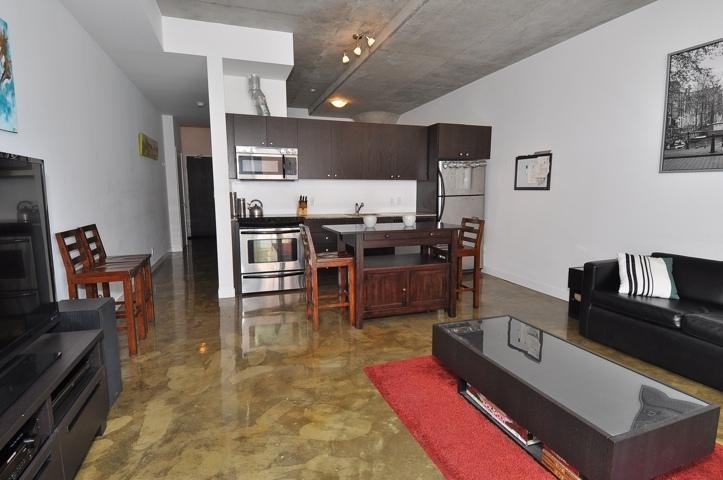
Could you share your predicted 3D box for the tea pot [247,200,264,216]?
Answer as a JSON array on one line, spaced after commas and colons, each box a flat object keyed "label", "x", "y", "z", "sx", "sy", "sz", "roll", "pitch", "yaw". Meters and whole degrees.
[{"label": "tea pot", "x": -1.587, "y": -0.480, "z": 6.693, "sx": 0.192, "sy": 0.273, "sz": 0.319, "roll": 0, "pitch": 1, "yaw": -5}]

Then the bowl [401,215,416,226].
[{"label": "bowl", "x": 0.568, "y": -0.239, "z": 5.492, "sx": 0.133, "sy": 0.098, "sz": 0.134, "roll": -1, "pitch": 3, "yaw": 0}]

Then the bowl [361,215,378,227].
[{"label": "bowl", "x": 0.090, "y": -0.221, "z": 5.339, "sx": 0.143, "sy": 0.106, "sz": 0.145, "roll": -1, "pitch": 0, "yaw": 0}]

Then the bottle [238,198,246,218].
[{"label": "bottle", "x": -1.738, "y": -0.470, "z": 6.507, "sx": 0.113, "sy": 0.254, "sz": 0.334, "roll": -3, "pitch": 12, "yaw": -10}]

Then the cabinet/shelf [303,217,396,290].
[{"label": "cabinet/shelf", "x": -0.185, "y": 0.173, "z": 5.597, "sx": 1.020, "sy": 0.866, "sz": 0.393, "roll": -2, "pitch": 5, "yaw": -19}]

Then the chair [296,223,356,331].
[{"label": "chair", "x": -0.445, "y": 0.322, "z": 5.633, "sx": 0.606, "sy": 1.130, "sz": 1.319, "roll": -2, "pitch": 12, "yaw": -7}]

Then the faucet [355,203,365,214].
[{"label": "faucet", "x": -0.020, "y": -0.538, "z": 7.431, "sx": 0.208, "sy": 0.171, "sz": 0.105, "roll": -10, "pitch": 16, "yaw": -39}]

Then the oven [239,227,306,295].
[{"label": "oven", "x": -1.302, "y": 0.147, "z": 6.635, "sx": 1.193, "sy": 1.179, "sz": 0.820, "roll": -2, "pitch": 6, "yaw": -19}]
